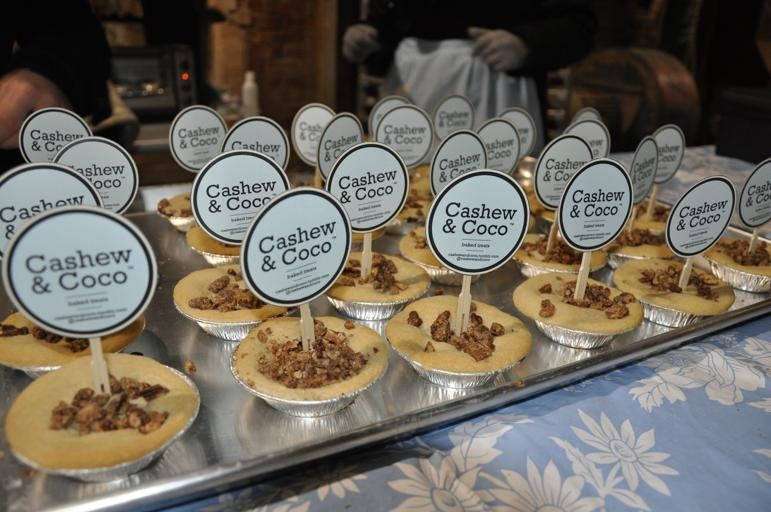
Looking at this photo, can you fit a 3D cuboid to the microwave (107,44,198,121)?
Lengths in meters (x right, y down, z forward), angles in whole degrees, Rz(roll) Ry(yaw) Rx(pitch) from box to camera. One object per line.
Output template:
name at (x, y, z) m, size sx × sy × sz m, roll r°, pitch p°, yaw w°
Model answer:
microwave at (-2.233, -1.633, 6.001) m, size 1.173 × 0.829 × 0.627 m, roll -8°, pitch 17°, yaw -31°

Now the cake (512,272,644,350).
cake at (0.984, 0.271, 3.161) m, size 0.618 × 0.179 × 0.474 m, roll 18°, pitch 42°, yaw 22°

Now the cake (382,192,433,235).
cake at (0.153, -0.301, 4.026) m, size 0.352 × 0.237 × 0.248 m, roll 14°, pitch 21°, yaw 40°
